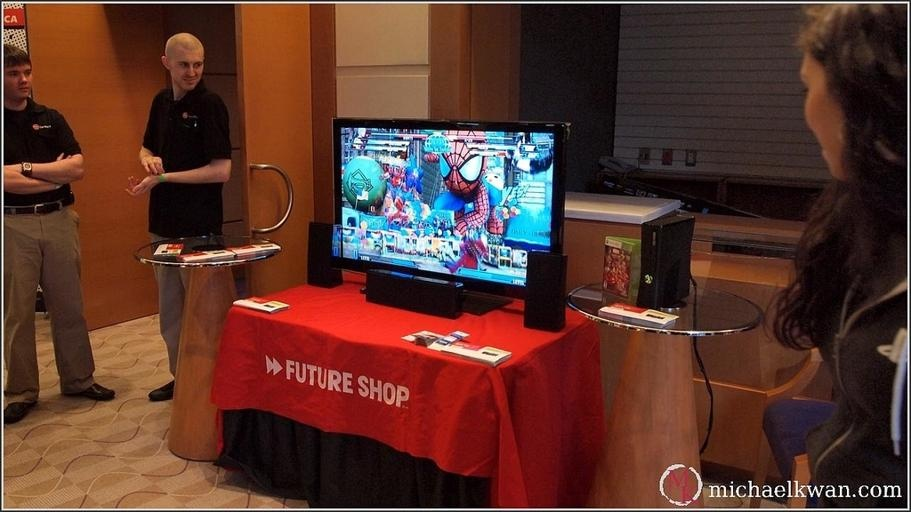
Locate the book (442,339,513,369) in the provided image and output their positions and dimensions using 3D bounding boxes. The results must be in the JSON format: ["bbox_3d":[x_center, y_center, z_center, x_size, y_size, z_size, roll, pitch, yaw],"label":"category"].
[{"bbox_3d":[0.112,0.503,3.259,0.239,0.028,0.142,11,12,35],"label":"book"}]

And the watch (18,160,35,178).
[{"bbox_3d":[-2.942,-0.590,4.302,0.076,0.099,0.024,-10,21,-28],"label":"watch"}]

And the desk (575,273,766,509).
[{"bbox_3d":[1.098,0.773,3.373,0.849,1.110,0.595,-5,19,-14],"label":"desk"}]

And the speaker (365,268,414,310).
[{"bbox_3d":[-0.415,0.184,3.878,0.288,0.153,0.134,7,13,-2],"label":"speaker"}]

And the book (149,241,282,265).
[{"bbox_3d":[-1.511,-0.014,3.943,0.768,0.058,0.397,-3,16,-10],"label":"book"}]

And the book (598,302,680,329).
[{"bbox_3d":[0.929,0.280,3.192,0.260,0.037,0.152,9,13,32],"label":"book"}]

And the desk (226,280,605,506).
[{"bbox_3d":[-0.107,0.493,3.759,2.100,0.869,1.312,4,6,29],"label":"desk"}]

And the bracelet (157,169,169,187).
[{"bbox_3d":[-2.020,-0.542,4.330,0.094,0.110,0.037,19,12,-6],"label":"bracelet"}]

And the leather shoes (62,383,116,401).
[{"bbox_3d":[-2.760,1.023,4.717,0.414,0.122,0.138,0,2,2],"label":"leather shoes"}]

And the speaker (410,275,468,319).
[{"bbox_3d":[-0.112,0.253,3.766,0.353,0.184,0.121,5,8,40],"label":"speaker"}]

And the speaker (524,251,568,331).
[{"bbox_3d":[0.510,0.196,3.516,0.232,0.432,0.159,3,19,11],"label":"speaker"}]

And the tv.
[{"bbox_3d":[-0.072,-0.306,3.877,1.796,1.084,0.480,9,13,37],"label":"tv"}]
